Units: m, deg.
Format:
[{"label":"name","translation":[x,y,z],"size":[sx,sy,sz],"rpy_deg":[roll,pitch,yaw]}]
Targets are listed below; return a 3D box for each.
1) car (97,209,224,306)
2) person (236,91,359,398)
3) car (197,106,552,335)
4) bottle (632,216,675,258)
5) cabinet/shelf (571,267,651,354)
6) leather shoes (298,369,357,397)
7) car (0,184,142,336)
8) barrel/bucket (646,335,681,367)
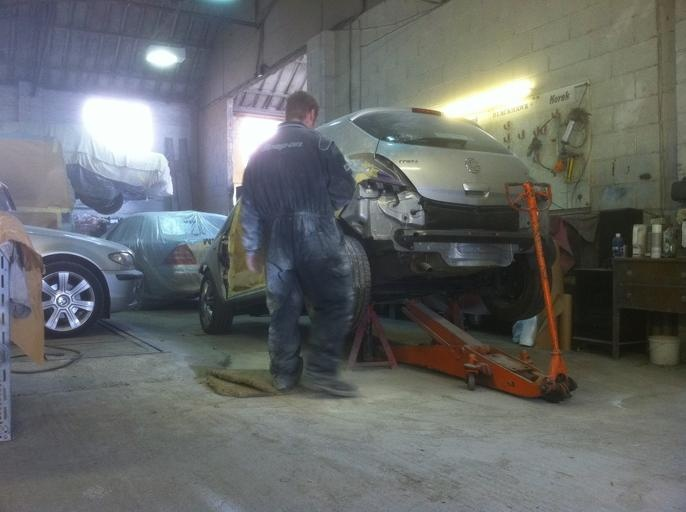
[{"label":"car","translation":[-2.728,0.026,8.198],"size":[1.238,0.882,2.529],"rpy_deg":[-3,8,-34]},{"label":"person","translation":[-0.341,-0.005,3.977],"size":[0.891,2.082,0.337],"rpy_deg":[0,3,0]},{"label":"car","translation":[0.091,-0.227,6.227],"size":[2.822,2.109,4.406],"rpy_deg":[1,-7,-25]},{"label":"bottle","translation":[3.197,-0.187,5.298],"size":[0.408,0.411,0.389],"rpy_deg":[1,3,12]},{"label":"cabinet/shelf","translation":[3.058,0.573,5.930],"size":[0.680,0.864,0.636],"rpy_deg":[2,-3,-28]},{"label":"leather shoes","translation":[-0.105,0.960,3.973],"size":[0.395,0.173,0.173],"rpy_deg":[9,-4,1]},{"label":"car","translation":[-3.716,0.017,6.648],"size":[2.446,1.158,1.242],"rpy_deg":[11,8,32]},{"label":"barrel/bucket","translation":[3.221,0.949,5.192],"size":[0.271,0.253,0.273],"rpy_deg":[0,-4,0]}]
